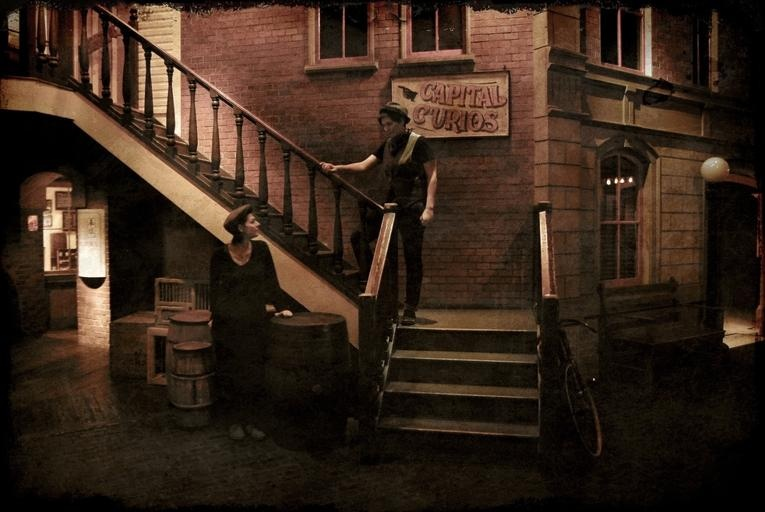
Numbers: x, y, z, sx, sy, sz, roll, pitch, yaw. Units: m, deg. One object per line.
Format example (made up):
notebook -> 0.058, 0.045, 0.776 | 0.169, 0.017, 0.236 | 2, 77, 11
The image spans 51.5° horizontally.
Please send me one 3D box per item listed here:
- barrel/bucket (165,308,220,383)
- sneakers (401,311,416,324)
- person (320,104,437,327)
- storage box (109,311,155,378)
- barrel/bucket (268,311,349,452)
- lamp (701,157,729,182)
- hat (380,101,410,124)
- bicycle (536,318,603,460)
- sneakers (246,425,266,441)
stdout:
barrel/bucket -> -2.029, 0.926, 8.364 | 0.721, 0.642, 0.667 | 0, -1, 0
sneakers -> 0.289, 0.667, 8.463 | 0.113, 0.154, 0.166 | 0, -10, 18
person -> 0.167, -0.456, 8.521 | 0.553, 2.348, 0.884 | -3, 5, -27
storage box -> -3.063, 1.121, 9.683 | 0.545, 0.714, 0.375 | -1, 4, -9
barrel/bucket -> -0.730, 1.236, 7.778 | 0.833, 1.219, 0.368 | -1, 4, -2
lamp -> 3.222, -0.830, 7.644 | 0.165, 0.179, 0.155 | 21, -36, -15
hat -> 0.149, -1.512, 8.290 | 0.262, 0.084, 0.215 | 22, -5, -22
bicycle -> 1.800, 1.249, 7.561 | 0.608, 1.275, 0.441 | 0, 4, 13
sneakers -> -1.258, 1.742, 7.802 | 0.210, 0.133, 0.079 | 2, 5, 28
